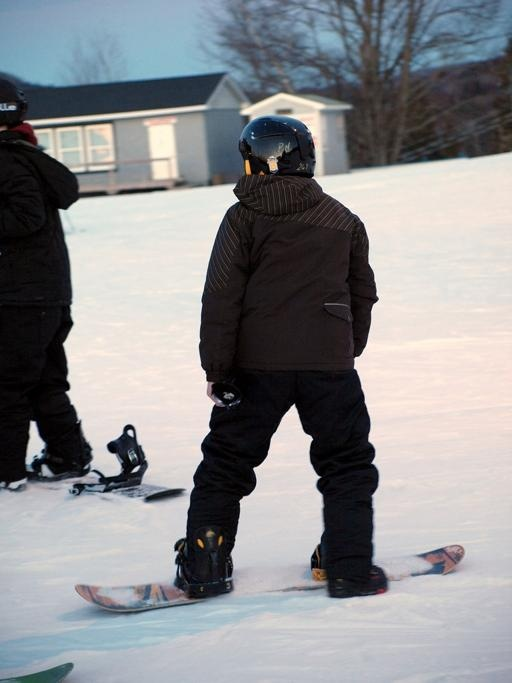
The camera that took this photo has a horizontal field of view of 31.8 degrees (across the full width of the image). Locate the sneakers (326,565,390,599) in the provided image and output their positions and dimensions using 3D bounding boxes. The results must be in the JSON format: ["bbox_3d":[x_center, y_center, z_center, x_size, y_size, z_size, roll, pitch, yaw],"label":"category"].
[{"bbox_3d":[0.304,0.731,2.700,0.178,0.049,0.090,-6,-5,14],"label":"sneakers"}]

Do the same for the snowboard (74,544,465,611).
[{"bbox_3d":[0.066,0.750,2.821,1.086,0.056,0.135,-5,-3,-5],"label":"snowboard"}]

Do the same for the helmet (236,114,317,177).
[{"bbox_3d":[0.017,-0.606,2.774,0.287,0.159,0.182,-6,17,-11],"label":"helmet"}]

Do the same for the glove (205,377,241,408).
[{"bbox_3d":[-0.090,0.161,2.790,0.118,0.086,0.077,20,-12,20],"label":"glove"}]

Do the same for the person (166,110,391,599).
[{"bbox_3d":[0.022,0.037,2.838,0.686,1.492,0.594,-4,12,11],"label":"person"}]

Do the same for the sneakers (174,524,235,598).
[{"bbox_3d":[-0.186,0.681,2.845,0.236,0.191,0.237,-1,11,-14],"label":"sneakers"}]
